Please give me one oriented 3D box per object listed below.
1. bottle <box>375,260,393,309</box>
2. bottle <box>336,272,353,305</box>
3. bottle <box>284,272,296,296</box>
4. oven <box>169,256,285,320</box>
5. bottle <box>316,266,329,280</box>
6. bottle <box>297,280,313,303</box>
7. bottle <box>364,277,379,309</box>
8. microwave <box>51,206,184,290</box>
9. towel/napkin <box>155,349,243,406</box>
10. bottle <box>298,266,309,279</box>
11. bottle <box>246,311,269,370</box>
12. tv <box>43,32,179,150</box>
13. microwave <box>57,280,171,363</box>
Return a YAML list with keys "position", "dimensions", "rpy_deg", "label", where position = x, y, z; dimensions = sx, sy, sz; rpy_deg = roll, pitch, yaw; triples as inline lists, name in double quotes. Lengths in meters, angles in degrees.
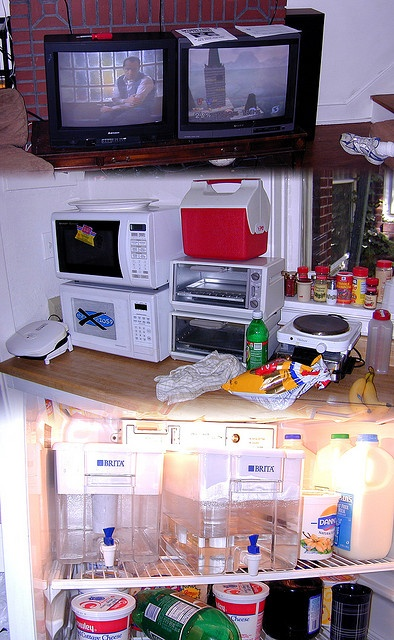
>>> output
- position: [0.740, -0.157, 1.770]
  dimensions: [0.056, 0.175, 0.086]
  rpy_deg: [2, 9, 20]
  label: "bottle"
- position: [0.585, -0.133, 1.794]
  dimensions: [0.050, 0.124, 0.062]
  rpy_deg: [-3, 8, -11]
  label: "bottle"
- position: [0.394, -0.157, 1.888]
  dimensions: [0.047, 0.104, 0.043]
  rpy_deg: [-2, 8, -2]
  label: "bottle"
- position: [0.112, -0.177, 1.608]
  dimensions: [0.341, 0.217, 0.249]
  rpy_deg: [6, 13, 25]
  label: "oven"
- position: [0.506, -0.197, 1.818]
  dimensions: [0.050, 0.053, 0.054]
  rpy_deg: [0, 7, 4]
  label: "bottle"
- position: [0.435, -0.124, 1.824]
  dimensions: [0.080, 0.109, 0.077]
  rpy_deg: [1, 5, 0]
  label: "bottle"
- position: [0.681, -0.111, 1.747]
  dimensions: [0.046, 0.119, 0.098]
  rpy_deg: [2, 9, 23]
  label: "bottle"
- position: [-0.325, -0.301, 1.724]
  dimensions: [0.404, 0.267, 0.264]
  rpy_deg: [5, 20, 15]
  label: "microwave"
- position: [-0.001, 0.180, 1.375]
  dimensions: [0.210, 0.048, 0.143]
  rpy_deg: [-24, 22, -27]
  label: "towel/napkin"
- position: [0.437, -0.204, 1.865]
  dimensions: [0.045, 0.075, 0.047]
  rpy_deg: [1, -6, 0]
  label: "bottle"
- position: [0.187, 0.068, 1.406]
  dimensions: [0.068, 0.188, 0.211]
  rpy_deg: [0, 9, 7]
  label: "bottle"
- position: [-0.388, -1.044, 1.982]
  dimensions: [0.457, 0.409, 0.267]
  rpy_deg: [-3, 40, -4]
  label: "tv"
- position: [-0.308, -0.048, 1.765]
  dimensions: [0.412, 0.271, 0.234]
  rpy_deg: [9, 28, 17]
  label: "microwave"
